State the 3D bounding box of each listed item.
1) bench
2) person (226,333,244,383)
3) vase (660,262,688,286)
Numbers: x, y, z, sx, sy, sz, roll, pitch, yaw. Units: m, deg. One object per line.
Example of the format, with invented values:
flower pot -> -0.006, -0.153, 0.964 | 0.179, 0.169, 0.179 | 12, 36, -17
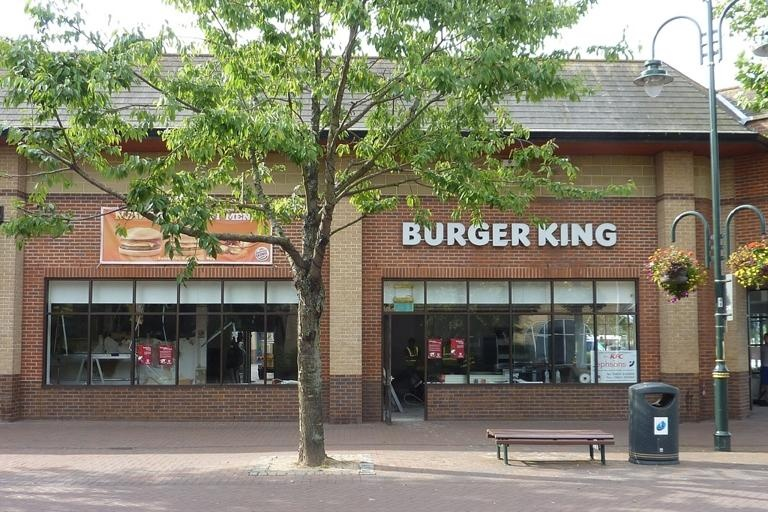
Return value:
bench -> 3.766, 4.346, 24.597 | 2.619, 0.819, 1.527 | -3, -10, 7
person -> -4.042, 2.801, 29.506 | 0.450, 1.300, 0.162 | -1, -10, -7
vase -> 6.819, 0.422, 25.367 | 0.613, 0.473, 0.245 | -4, -10, 13
